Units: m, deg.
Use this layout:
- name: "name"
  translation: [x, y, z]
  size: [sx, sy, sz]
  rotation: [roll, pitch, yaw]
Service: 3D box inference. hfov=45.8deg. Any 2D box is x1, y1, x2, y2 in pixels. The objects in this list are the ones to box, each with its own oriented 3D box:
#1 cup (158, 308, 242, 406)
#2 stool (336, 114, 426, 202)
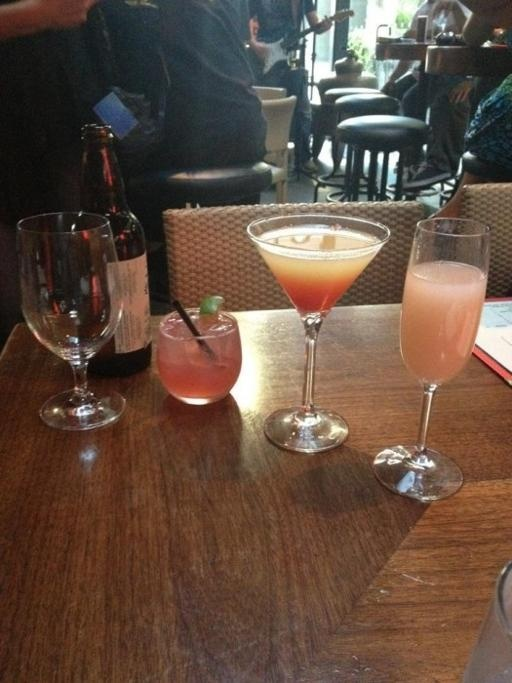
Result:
- name: "cup"
  translation: [-0.064, 0.021, 0.699]
  size: [0.138, 0.081, 0.127]
  rotation: [1, 16, 0]
- name: "stool"
  translation: [0.637, -0.986, 3.388]
  size: [0.428, 0.406, 0.407]
  rotation: [-11, 11, -22]
